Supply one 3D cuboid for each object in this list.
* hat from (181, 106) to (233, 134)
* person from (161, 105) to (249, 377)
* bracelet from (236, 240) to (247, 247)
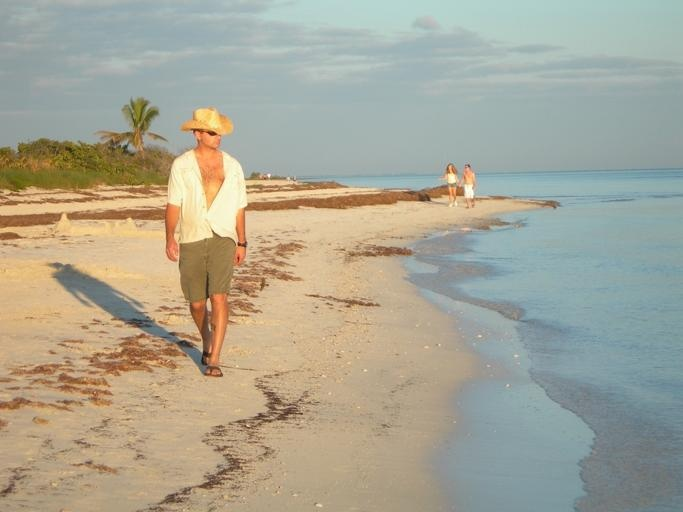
[{"bbox_3d":[-1.456,-1.477,10.240,0.515,0.273,0.229,3,14,-9],"label":"hat"},{"bbox_3d":[-1.514,-0.139,10.414,0.899,2.992,0.626,6,15,-9],"label":"person"},{"bbox_3d":[-1.128,-0.145,10.595,0.093,0.037,0.081,4,7,33],"label":"bracelet"}]
